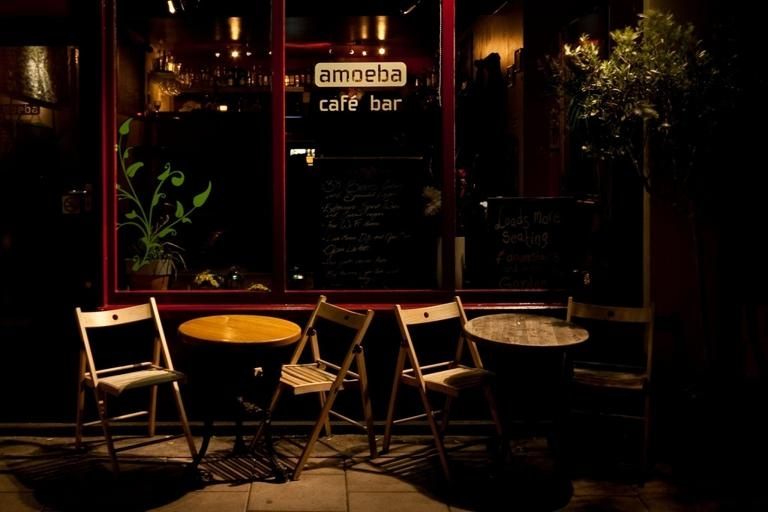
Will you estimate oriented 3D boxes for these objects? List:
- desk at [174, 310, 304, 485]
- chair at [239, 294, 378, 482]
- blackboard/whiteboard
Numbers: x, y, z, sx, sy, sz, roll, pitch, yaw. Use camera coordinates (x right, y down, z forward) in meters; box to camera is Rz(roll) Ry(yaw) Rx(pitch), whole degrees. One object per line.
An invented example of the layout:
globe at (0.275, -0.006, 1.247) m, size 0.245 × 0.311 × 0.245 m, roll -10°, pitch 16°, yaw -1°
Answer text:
desk at (-1.388, 1.229, 6.171) m, size 1.448 × 1.464 × 1.334 m, roll 1°, pitch 4°, yaw 10°
chair at (-0.631, 1.170, 6.143) m, size 0.939 × 1.388 × 0.916 m, roll -2°, pitch 8°, yaw -37°
blackboard/whiteboard at (0.642, -0.335, 6.660) m, size 2.607 × 1.299 × 0.168 m, roll 0°, pitch 6°, yaw 3°
